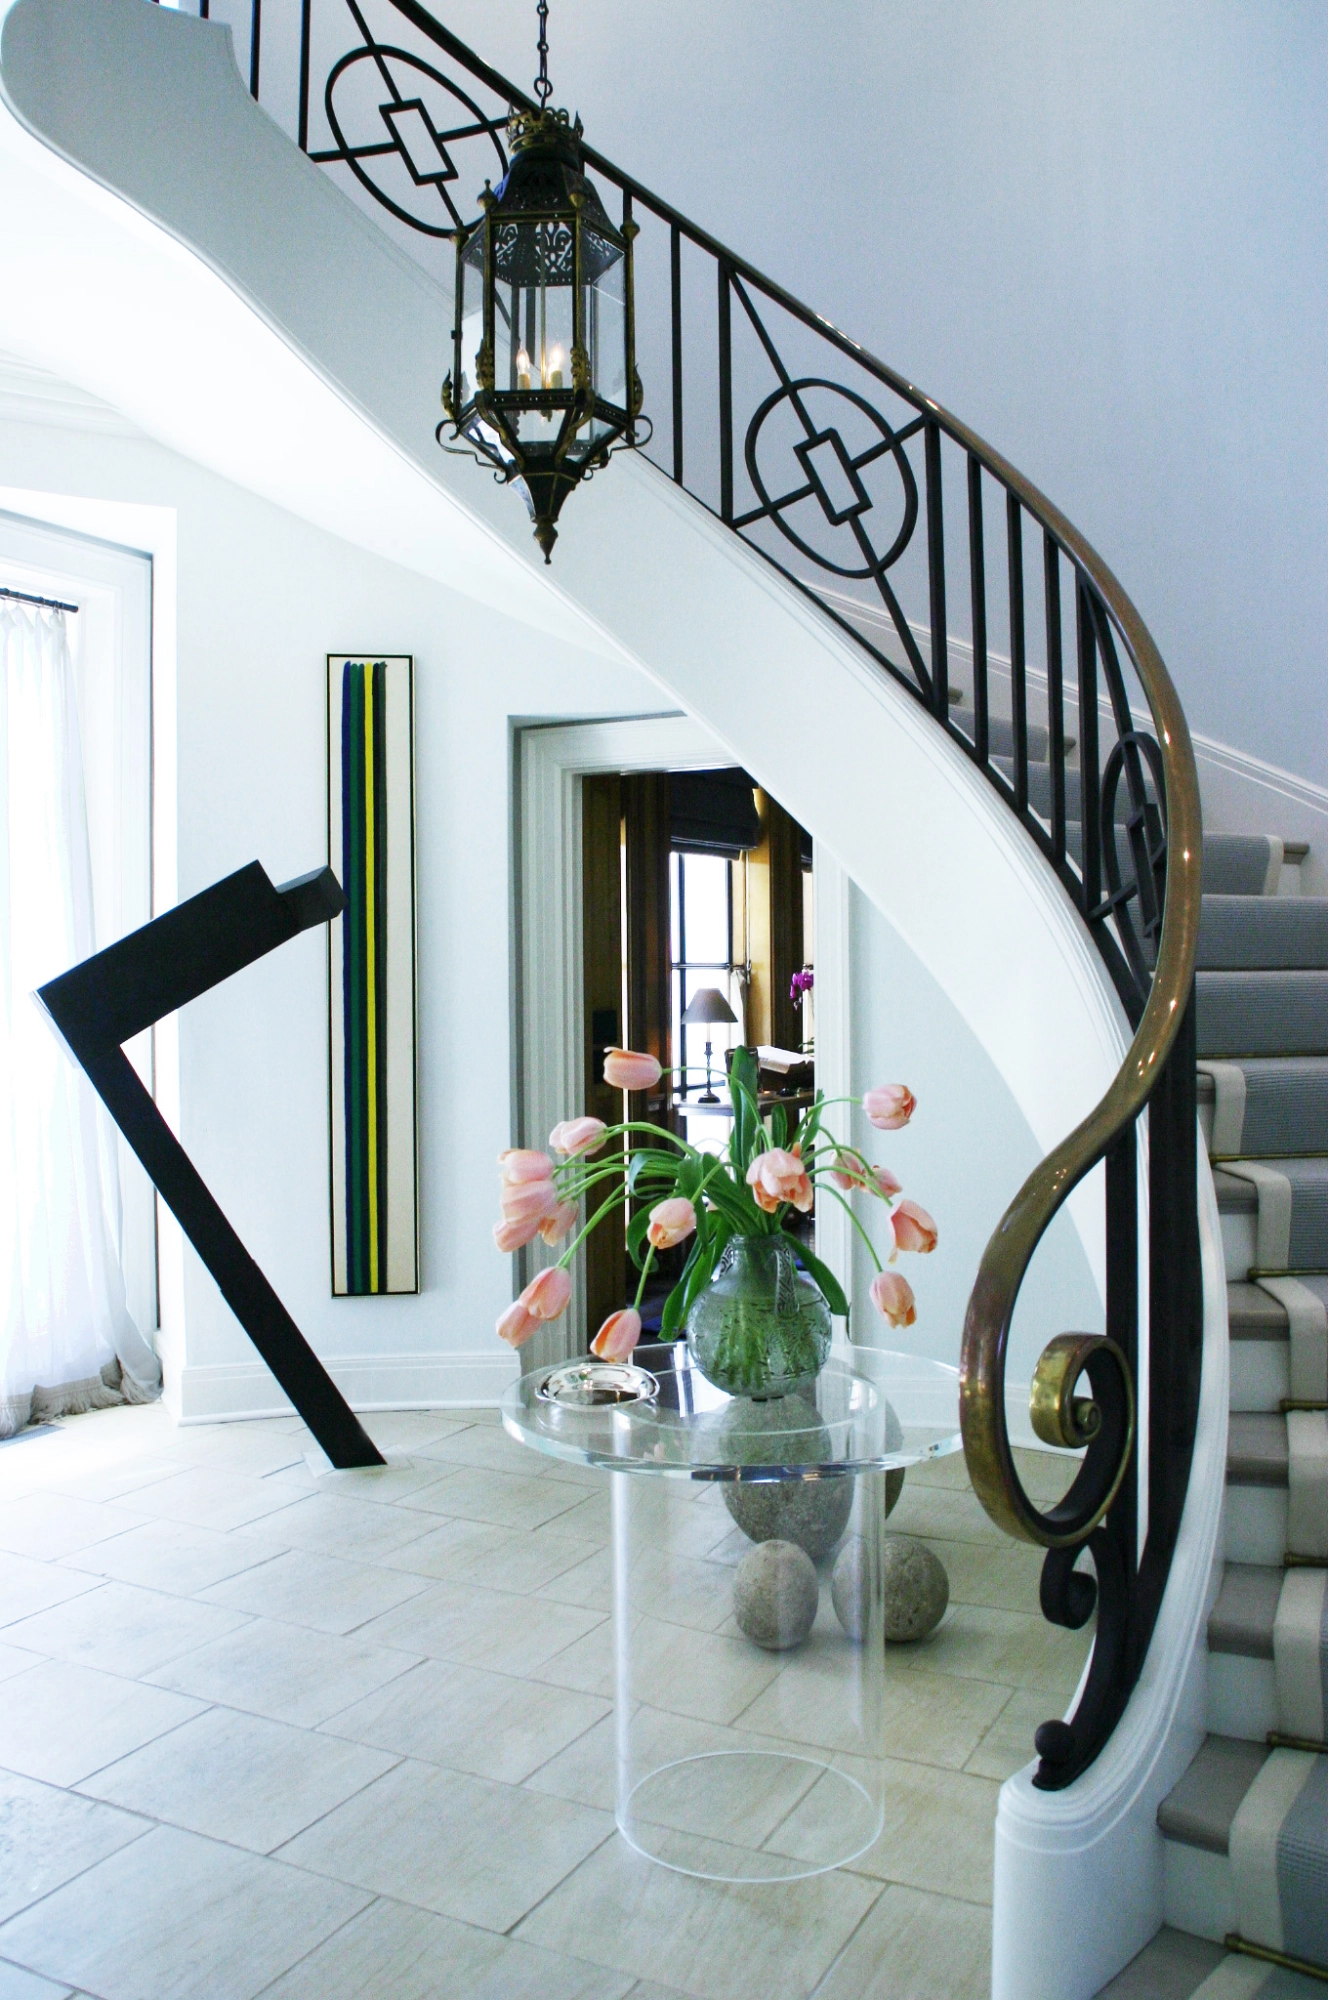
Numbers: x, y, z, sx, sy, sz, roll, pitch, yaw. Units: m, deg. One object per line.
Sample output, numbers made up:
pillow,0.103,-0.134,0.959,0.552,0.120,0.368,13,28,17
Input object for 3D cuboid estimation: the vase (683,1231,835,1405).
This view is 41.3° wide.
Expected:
vase,0.132,0.448,2.510,0.199,0.252,0.214,2,3,28

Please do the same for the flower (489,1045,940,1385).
flower,0.166,0.345,2.503,0.487,0.432,0.577,-2,-3,26

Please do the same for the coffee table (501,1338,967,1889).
coffee table,0.116,0.834,2.521,0.558,0.605,0.622,0,-2,-1

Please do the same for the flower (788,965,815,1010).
flower,0.675,-0.056,8.611,0.149,0.173,0.083,-21,23,-16

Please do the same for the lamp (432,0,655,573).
lamp,-0.184,-0.989,2.628,0.287,0.625,0.293,-1,1,-9
